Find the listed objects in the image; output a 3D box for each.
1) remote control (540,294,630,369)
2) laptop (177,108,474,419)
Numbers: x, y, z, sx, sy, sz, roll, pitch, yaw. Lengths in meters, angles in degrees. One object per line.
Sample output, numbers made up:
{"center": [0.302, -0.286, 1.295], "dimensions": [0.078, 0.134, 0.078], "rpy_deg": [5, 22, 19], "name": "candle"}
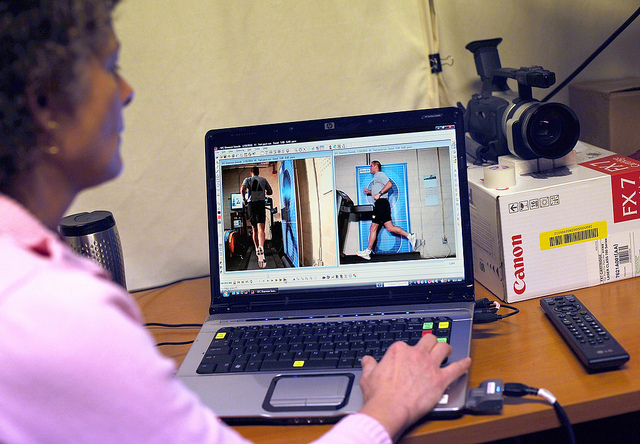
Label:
{"center": [0.477, 0.198, 0.930], "dimensions": [0.072, 0.030, 0.230], "rpy_deg": [-11, 17, 5], "name": "remote control"}
{"center": [-0.010, 0.049, 0.918], "dimensions": [0.626, 0.410, 0.522], "rpy_deg": [-1, 16, 22], "name": "laptop"}
